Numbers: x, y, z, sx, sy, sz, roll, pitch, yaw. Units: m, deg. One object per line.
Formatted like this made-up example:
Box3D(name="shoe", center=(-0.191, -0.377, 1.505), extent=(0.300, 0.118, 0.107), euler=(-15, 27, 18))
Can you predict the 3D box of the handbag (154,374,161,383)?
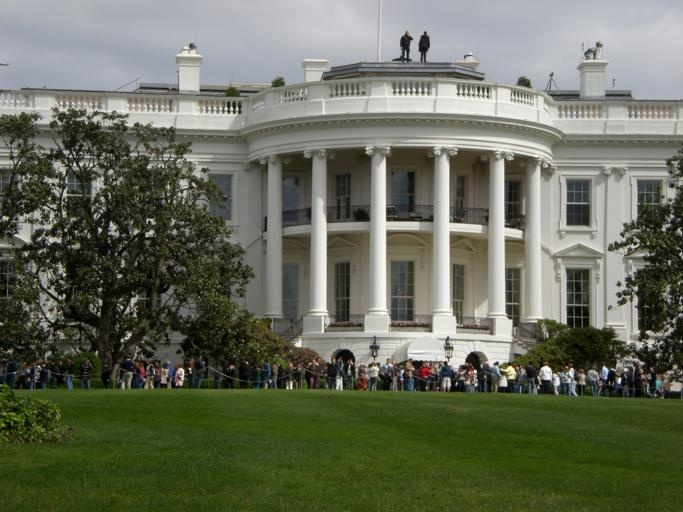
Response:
Box3D(name="handbag", center=(-6.823, 4.645, 46.725), extent=(0.276, 0.262, 0.275), euler=(0, -9, -1))
